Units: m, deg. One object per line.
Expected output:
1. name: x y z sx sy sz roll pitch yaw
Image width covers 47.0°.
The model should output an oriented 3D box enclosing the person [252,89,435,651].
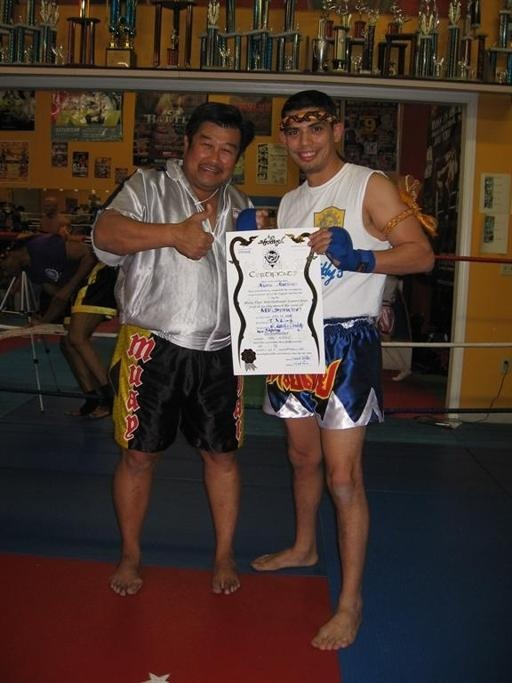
1. person: 0.202 0.038 1.671 0.406 1.460 0.485 -2 7 -29

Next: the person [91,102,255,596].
1. person: -0.245 0.031 1.722 0.395 1.412 0.436 3 7 6
